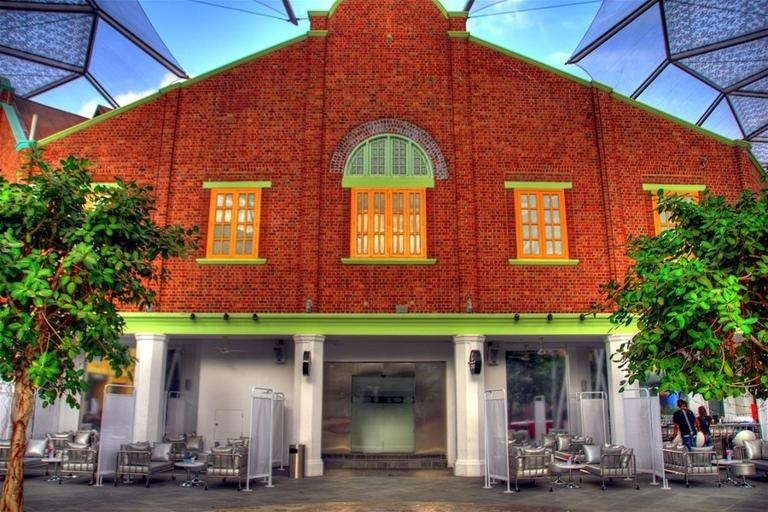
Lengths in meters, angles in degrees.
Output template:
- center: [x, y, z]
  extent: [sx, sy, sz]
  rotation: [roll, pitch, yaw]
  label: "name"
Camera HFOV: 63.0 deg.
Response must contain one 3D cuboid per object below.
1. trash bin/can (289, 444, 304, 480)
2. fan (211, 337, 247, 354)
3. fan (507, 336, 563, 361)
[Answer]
- center: [-3.083, 7.377, 22.505]
  extent: [0.512, 1.189, 0.352]
  rotation: [0, 1, -6]
  label: "trash bin/can"
- center: [-6.425, 3.800, 26.313]
  extent: [1.454, 0.711, 0.356]
  rotation: [0, 1, -2]
  label: "fan"
- center: [6.688, 3.942, 26.607]
  extent: [2.691, 1.074, 1.411]
  rotation: [0, 1, -19]
  label: "fan"
